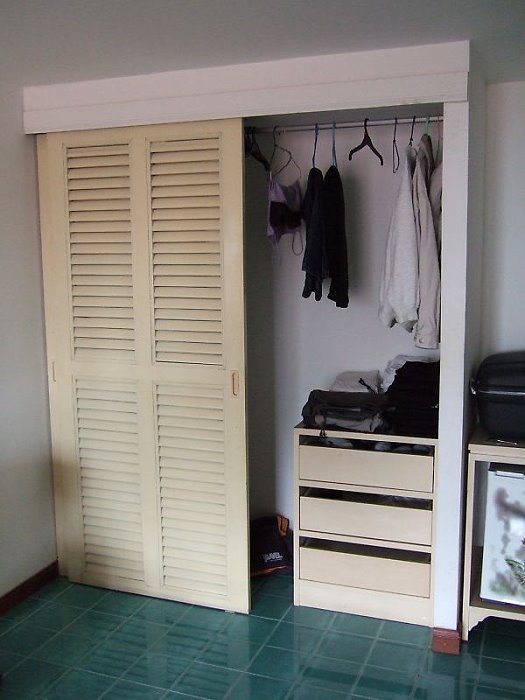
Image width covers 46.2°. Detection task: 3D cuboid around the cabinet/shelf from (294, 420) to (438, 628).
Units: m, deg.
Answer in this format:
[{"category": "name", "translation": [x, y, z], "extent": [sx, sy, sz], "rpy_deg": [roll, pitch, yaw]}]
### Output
[{"category": "cabinet/shelf", "translation": [0.435, 0.666, 2.576], "extent": [0.476, 0.773, 0.381], "rpy_deg": [3, 10, 14]}]

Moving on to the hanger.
[{"category": "hanger", "translation": [0.365, -0.866, 2.625], "extent": [0.773, 0.214, 0.249], "rpy_deg": [2, 7, 20]}]
